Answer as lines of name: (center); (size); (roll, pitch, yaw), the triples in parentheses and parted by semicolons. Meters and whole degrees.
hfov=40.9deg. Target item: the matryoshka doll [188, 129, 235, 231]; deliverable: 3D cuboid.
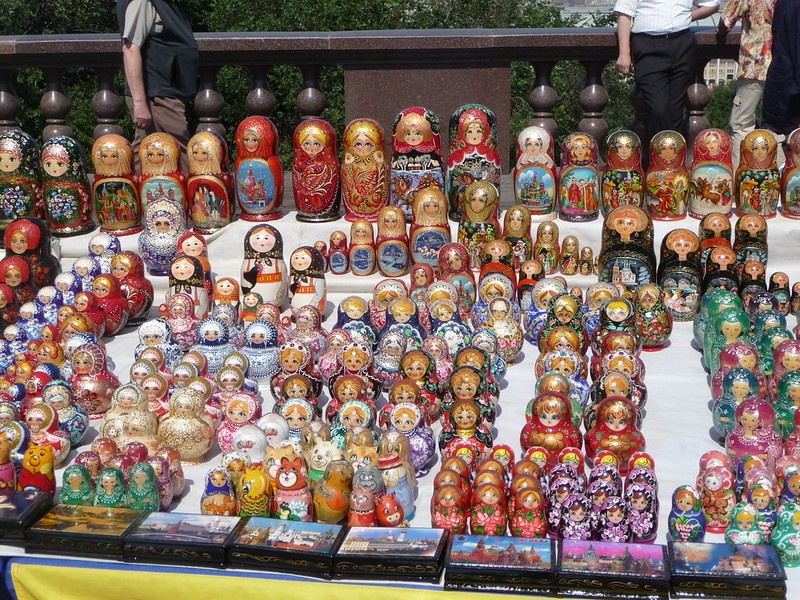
matryoshka doll: (-1.568, -0.941, 8.713); (0.380, 0.808, 0.289); (-4, 8, -10)

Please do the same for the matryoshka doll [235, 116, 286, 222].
matryoshka doll: (-1.172, -1.052, 8.715); (0.386, 0.854, 0.414); (-4, 8, -11)

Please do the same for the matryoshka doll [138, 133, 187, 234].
matryoshka doll: (-1.929, -0.913, 8.733); (0.277, 0.830, 0.272); (0, 29, 5)
